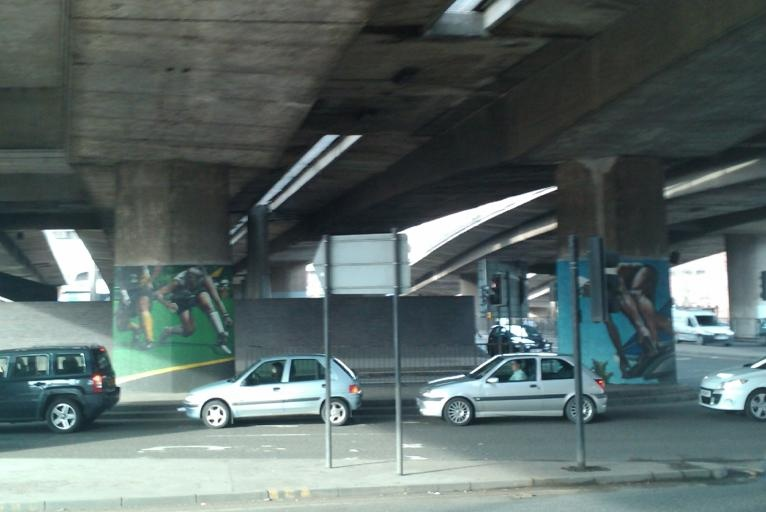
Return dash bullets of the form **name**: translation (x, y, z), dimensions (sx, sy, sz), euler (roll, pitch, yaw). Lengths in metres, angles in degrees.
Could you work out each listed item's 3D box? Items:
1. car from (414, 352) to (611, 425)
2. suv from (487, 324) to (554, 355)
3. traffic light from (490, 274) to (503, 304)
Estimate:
- **car**: translation (4.023, 3.891, 27.598), dimensions (5.155, 1.493, 2.246), euler (1, -5, 0)
- **suv**: translation (7.138, 4.286, 47.606), dimensions (2.236, 1.148, 3.923), euler (1, -10, -11)
- **traffic light**: translation (4.560, 1.280, 36.468), dimensions (0.542, 1.151, 0.538), euler (-4, -8, 8)
